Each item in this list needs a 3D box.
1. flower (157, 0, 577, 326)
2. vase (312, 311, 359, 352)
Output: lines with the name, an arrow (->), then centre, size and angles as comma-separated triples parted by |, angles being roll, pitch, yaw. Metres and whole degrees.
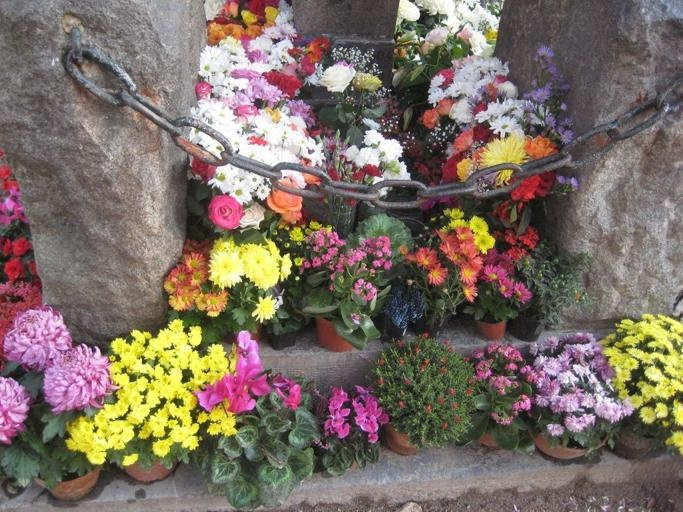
flower -> 0.227, -0.547, 3.618 | 1.533, 1.661, 0.497 | 2, -12, 0
vase -> -0.053, 0.372, 3.537 | 0.187, 0.104, 0.195 | 1, 4, 8
